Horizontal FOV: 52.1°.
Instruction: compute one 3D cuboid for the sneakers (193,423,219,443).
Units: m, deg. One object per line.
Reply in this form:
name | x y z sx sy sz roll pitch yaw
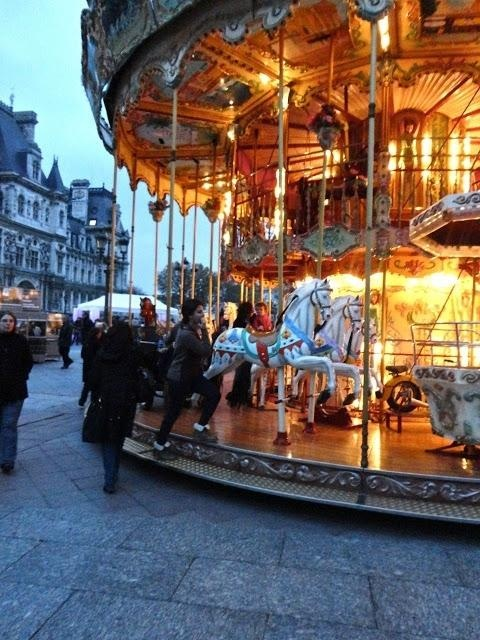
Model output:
sneakers | -0.312 1.224 5.359 0.375 0.255 0.126 -1 -1 2
